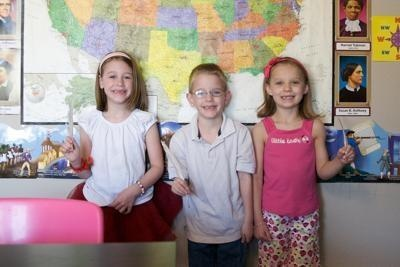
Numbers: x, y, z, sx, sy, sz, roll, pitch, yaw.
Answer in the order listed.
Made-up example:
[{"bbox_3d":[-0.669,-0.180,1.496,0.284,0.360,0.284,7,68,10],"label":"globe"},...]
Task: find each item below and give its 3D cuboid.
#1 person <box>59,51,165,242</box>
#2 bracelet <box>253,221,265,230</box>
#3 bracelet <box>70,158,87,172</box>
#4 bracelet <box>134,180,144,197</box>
[{"bbox_3d":[-0.452,0.066,1.976,0.488,1.108,0.302,-4,5,-14],"label":"person"},{"bbox_3d":[0.345,0.545,1.984,0.053,0.052,0.055,14,-24,9],"label":"bracelet"},{"bbox_3d":[-0.695,0.183,1.946,0.066,0.032,0.074,-1,6,-1],"label":"bracelet"},{"bbox_3d":[-0.349,0.324,1.954,0.021,0.066,0.060,-10,0,-19],"label":"bracelet"}]
